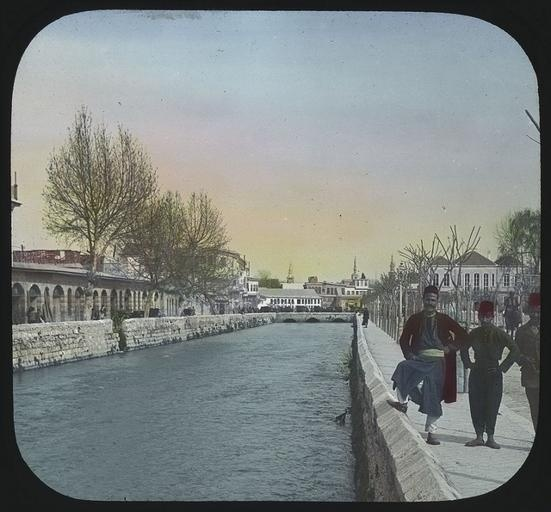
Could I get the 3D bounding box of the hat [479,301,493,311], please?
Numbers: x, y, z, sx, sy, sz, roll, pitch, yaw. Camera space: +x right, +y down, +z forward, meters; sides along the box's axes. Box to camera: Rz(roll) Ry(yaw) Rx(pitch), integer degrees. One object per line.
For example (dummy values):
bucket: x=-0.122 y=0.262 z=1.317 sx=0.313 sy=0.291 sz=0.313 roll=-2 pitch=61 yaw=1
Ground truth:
hat: x=2.351 y=0.569 z=9.062 sx=0.119 sy=0.153 sz=0.123 roll=3 pitch=-5 yaw=-25

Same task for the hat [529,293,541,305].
hat: x=2.717 y=0.447 z=8.543 sx=0.135 sy=0.147 sz=0.147 roll=1 pitch=0 yaw=-3

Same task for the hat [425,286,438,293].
hat: x=1.752 y=0.373 z=9.197 sx=0.085 sy=0.069 sz=0.091 roll=2 pitch=1 yaw=24

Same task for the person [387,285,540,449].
person: x=2.010 y=1.251 z=9.250 sx=1.409 sy=1.815 sz=0.737 roll=-1 pitch=-4 yaw=16
